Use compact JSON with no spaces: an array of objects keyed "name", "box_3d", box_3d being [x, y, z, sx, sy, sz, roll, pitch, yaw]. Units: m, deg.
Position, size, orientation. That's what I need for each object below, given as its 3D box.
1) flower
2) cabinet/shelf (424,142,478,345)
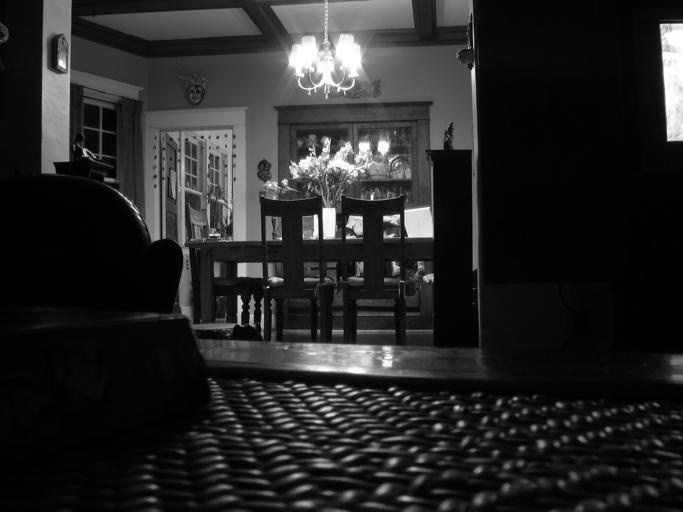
[{"name":"flower","box_3d":[-0.116,-0.847,5.938,0.938,0.693,0.739,-9,10,41]},{"name":"cabinet/shelf","box_3d":[0.536,-0.041,2.877,0.238,0.936,0.182,1,-1,14]}]
